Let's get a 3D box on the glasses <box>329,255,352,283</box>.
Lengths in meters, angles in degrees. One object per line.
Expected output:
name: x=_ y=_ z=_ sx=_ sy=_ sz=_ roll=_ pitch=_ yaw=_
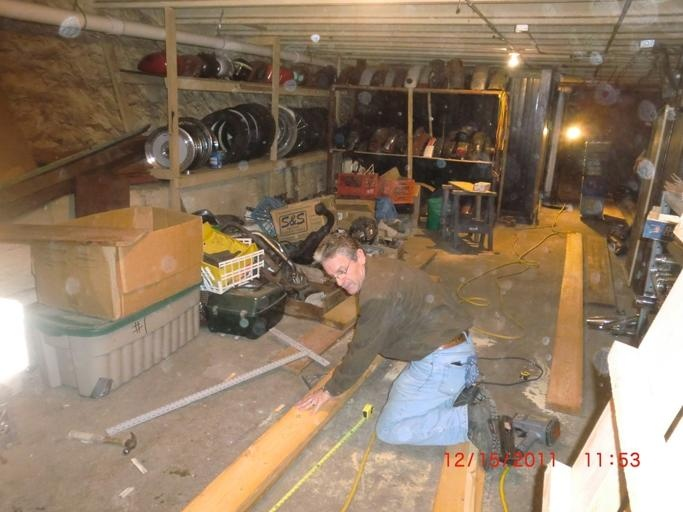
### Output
glasses: x=-0.011 y=0.092 z=3.777 sx=0.164 sy=0.161 sz=0.052 roll=5 pitch=-13 yaw=43

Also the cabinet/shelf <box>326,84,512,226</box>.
cabinet/shelf: x=1.611 y=-2.056 z=10.345 sx=3.397 sy=2.538 sz=0.852 roll=7 pitch=19 yaw=17

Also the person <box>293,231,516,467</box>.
person: x=0.590 y=0.694 z=3.994 sx=1.540 sy=1.733 sz=0.497 roll=3 pitch=18 yaw=6

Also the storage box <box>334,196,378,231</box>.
storage box: x=0.240 y=-0.749 z=8.434 sx=0.840 sy=0.539 sz=0.460 roll=-2 pitch=5 yaw=-7

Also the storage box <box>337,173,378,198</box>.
storage box: x=0.271 y=-1.340 z=9.203 sx=0.547 sy=0.392 sz=0.545 roll=5 pitch=14 yaw=17

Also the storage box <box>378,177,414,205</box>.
storage box: x=1.041 y=-1.270 z=9.755 sx=0.562 sy=0.322 sz=0.532 roll=-3 pitch=17 yaw=-10

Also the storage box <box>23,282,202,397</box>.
storage box: x=-2.197 y=0.733 z=5.194 sx=1.247 sy=0.551 sz=1.601 roll=0 pitch=13 yaw=17

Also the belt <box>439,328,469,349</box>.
belt: x=0.860 y=0.643 z=3.990 sx=0.257 sy=0.058 sz=0.072 roll=-23 pitch=60 yaw=2

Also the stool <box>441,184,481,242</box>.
stool: x=2.161 y=-0.734 z=9.263 sx=0.922 sy=1.176 sz=0.885 roll=1 pitch=15 yaw=-2

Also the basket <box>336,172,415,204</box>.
basket: x=0.649 y=-1.264 z=9.392 sx=1.696 sy=0.574 sz=1.063 roll=-3 pitch=18 yaw=-36

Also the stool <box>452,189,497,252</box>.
stool: x=2.337 y=-0.668 z=9.116 sx=0.965 sy=1.207 sz=1.067 roll=7 pitch=16 yaw=12

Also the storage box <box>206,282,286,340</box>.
storage box: x=-1.025 y=0.561 z=5.681 sx=0.781 sy=0.367 sz=0.735 roll=4 pitch=12 yaw=28

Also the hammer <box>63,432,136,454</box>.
hammer: x=-1.899 y=1.505 z=4.120 sx=0.421 sy=0.033 sz=0.204 roll=8 pitch=29 yaw=-6

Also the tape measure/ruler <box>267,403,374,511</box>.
tape measure/ruler: x=-0.173 y=1.592 z=3.978 sx=0.118 sy=0.076 sz=1.037 roll=8 pitch=35 yaw=45

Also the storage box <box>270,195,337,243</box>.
storage box: x=-0.660 y=-0.537 z=7.625 sx=1.168 sy=0.656 sz=0.317 roll=-19 pitch=13 yaw=-42
